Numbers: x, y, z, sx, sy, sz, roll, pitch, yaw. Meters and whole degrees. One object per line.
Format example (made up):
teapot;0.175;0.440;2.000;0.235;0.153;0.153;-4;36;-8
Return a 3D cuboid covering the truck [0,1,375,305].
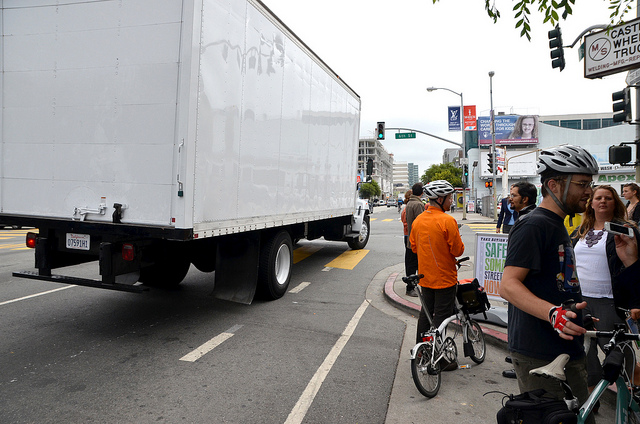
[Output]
truck;-2.076;-1.231;10.656;3.949;4.832;8.840;3;3;29

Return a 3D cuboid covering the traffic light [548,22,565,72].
traffic light;6.014;-4.034;11.343;0.440;1.308;0.451;-5;-4;41

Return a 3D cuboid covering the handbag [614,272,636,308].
handbag;3.631;0.930;5.380;0.221;0.360;0.331;-1;47;13

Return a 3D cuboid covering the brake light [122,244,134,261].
brake light;-2.979;0.621;6.982;0.175;0.222;0.049;2;7;3

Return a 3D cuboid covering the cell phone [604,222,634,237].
cell phone;3.413;0.200;5.165;0.287;0.171;0.050;14;-24;27

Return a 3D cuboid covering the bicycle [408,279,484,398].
bicycle;1.676;1.615;6.229;0.607;1.379;1.618;8;10;41

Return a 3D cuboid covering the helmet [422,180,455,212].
helmet;1.669;-0.219;6.424;0.417;0.454;0.340;-11;3;2

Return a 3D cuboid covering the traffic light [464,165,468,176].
traffic light;10.480;-2.865;32.339;0.251;0.702;1.101;4;8;18

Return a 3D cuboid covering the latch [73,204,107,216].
latch;-3.580;-0.025;6.939;0.556;0.159;0.048;3;8;11

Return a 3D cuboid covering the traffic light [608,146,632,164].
traffic light;5.760;-1.060;8.613;0.425;0.340;0.358;4;8;14

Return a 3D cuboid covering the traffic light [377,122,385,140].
traffic light;3.529;-4.647;26.269;0.351;0.917;0.531;0;8;-8

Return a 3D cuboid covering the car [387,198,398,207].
car;13.700;-1.554;86.252;1.190;1.009;2.868;1;9;11

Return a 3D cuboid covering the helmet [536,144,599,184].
helmet;2.336;-0.452;4.280;0.464;0.307;0.365;-6;-4;23

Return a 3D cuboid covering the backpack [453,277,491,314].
backpack;2.220;1.223;6.545;0.397;0.500;0.510;-16;-2;33

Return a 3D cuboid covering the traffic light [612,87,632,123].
traffic light;5.759;-1.999;8.613;0.264;0.629;0.650;4;8;21
